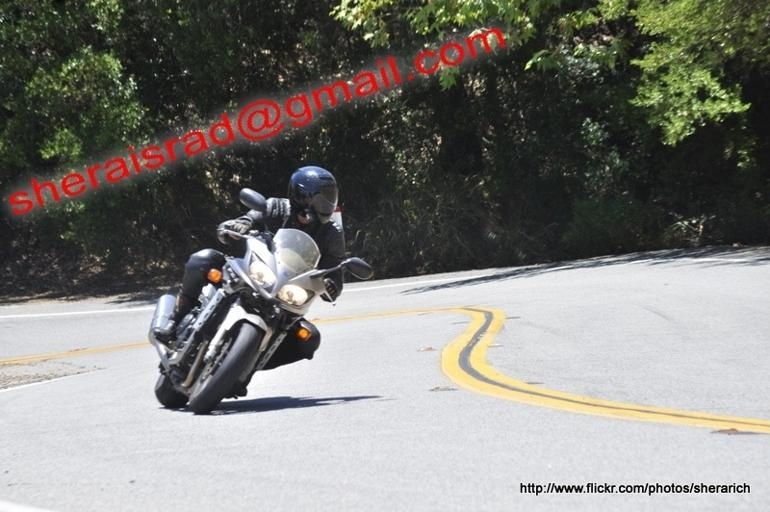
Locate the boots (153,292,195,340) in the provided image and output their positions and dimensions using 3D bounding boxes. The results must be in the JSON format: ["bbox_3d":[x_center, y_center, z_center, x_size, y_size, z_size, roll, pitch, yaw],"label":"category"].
[{"bbox_3d":[-2.584,0.713,8.753,0.226,0.500,0.430,27,16,5],"label":"boots"}]
